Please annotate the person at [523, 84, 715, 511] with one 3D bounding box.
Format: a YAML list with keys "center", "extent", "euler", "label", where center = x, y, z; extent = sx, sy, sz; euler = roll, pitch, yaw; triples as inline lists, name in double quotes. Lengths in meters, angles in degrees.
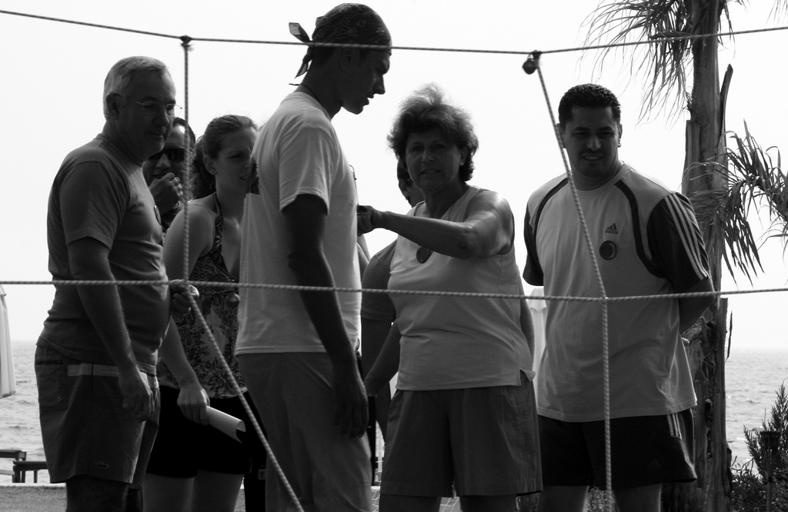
- center: [1.201, 0.222, 6.764]
  extent: [1.037, 2.329, 0.546]
  euler: [-5, -12, 13]
  label: "person"
